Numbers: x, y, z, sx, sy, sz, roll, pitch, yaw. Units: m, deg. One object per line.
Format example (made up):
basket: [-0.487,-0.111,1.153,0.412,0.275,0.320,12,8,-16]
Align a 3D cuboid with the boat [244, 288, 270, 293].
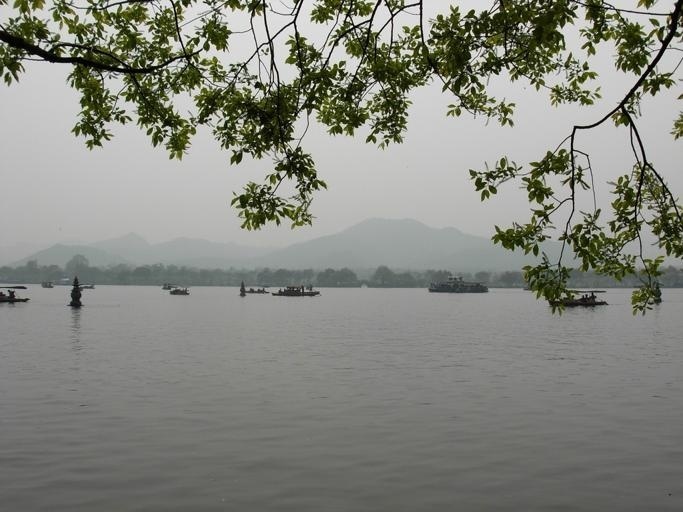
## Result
boat: [-24.197,9.413,241.427,5.673,1.894,4.725,6,-7,-43]
